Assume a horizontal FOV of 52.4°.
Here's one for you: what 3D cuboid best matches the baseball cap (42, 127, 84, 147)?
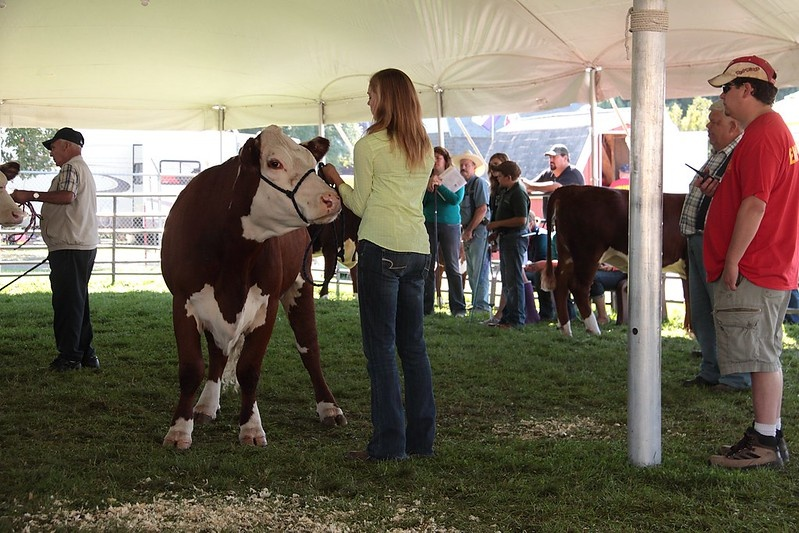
[{"bbox_3d":[-3.556,-1.358,8.573,0.349,0.195,0.232,7,-2,-9],"label":"baseball cap"}]

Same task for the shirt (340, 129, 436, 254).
[{"bbox_3d":[-0.105,-0.559,6.216,0.719,0.932,0.326,0,11,0],"label":"shirt"}]

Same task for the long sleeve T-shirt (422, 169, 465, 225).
[{"bbox_3d":[0.546,-0.956,11.337,0.671,0.803,0.564,3,-2,8],"label":"long sleeve T-shirt"}]

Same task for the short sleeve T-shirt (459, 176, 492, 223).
[{"bbox_3d":[1.092,-0.952,11.838,0.411,0.714,0.715,0,2,-26],"label":"short sleeve T-shirt"}]

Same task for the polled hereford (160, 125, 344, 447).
[{"bbox_3d":[-1.248,0.119,6.847,1.466,2.574,1.427,-2,11,-11],"label":"polled hereford"}]

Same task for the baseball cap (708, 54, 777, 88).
[{"bbox_3d":[2.724,-1.517,6.432,0.440,0.234,0.286,7,10,18],"label":"baseball cap"}]

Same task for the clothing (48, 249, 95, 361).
[{"bbox_3d":[-3.393,0.410,8.497,0.448,1.149,0.463,-5,12,-27],"label":"clothing"}]

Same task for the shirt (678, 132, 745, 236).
[{"bbox_3d":[2.878,-0.748,7.818,0.276,0.880,0.658,23,3,-9],"label":"shirt"}]

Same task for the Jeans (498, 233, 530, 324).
[{"bbox_3d":[1.544,0.174,11.031,0.486,1.387,0.665,2,-4,7],"label":"Jeans"}]

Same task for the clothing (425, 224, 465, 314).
[{"bbox_3d":[0.618,-0.024,11.651,0.533,1.256,0.362,-1,8,12],"label":"clothing"}]

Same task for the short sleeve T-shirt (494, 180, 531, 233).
[{"bbox_3d":[1.566,-0.771,10.922,0.431,0.693,0.719,6,6,-7],"label":"short sleeve T-shirt"}]
